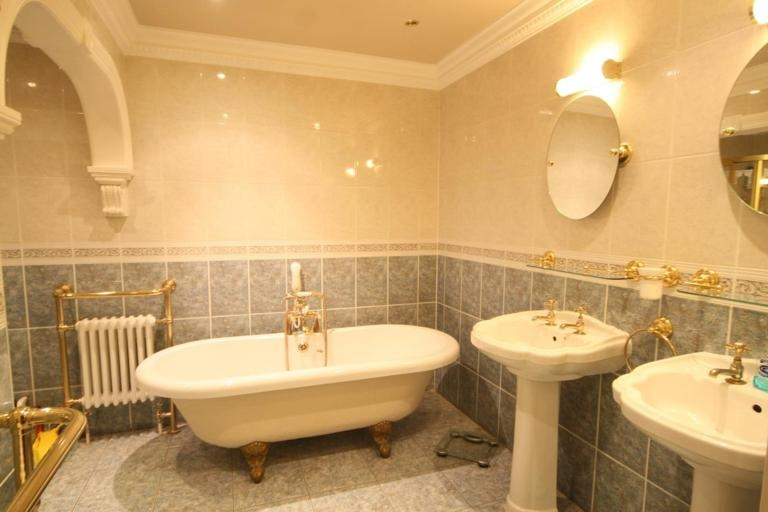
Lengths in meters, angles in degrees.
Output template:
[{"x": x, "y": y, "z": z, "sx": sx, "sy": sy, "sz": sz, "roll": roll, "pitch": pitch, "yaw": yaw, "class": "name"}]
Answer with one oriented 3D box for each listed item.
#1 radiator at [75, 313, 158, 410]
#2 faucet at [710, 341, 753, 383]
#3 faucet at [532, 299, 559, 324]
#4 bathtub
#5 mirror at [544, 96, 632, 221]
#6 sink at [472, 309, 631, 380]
[{"x": -1.979, "y": 0.756, "z": 4.083, "sx": 0.750, "sy": 0.842, "sz": 0.175, "roll": -1, "pitch": 0, "yaw": -28, "class": "radiator"}, {"x": 1.741, "y": 0.552, "z": 2.838, "sx": 0.239, "sy": 0.214, "sz": 0.117, "roll": -6, "pitch": 11, "yaw": -19, "class": "faucet"}, {"x": 1.054, "y": 0.358, "z": 3.646, "sx": 0.221, "sy": 0.182, "sz": 0.105, "roll": -3, "pitch": 5, "yaw": -27, "class": "faucet"}, {"x": -0.611, "y": 0.936, "z": 4.034, "sx": 2.130, "sy": 0.670, "sz": 0.762, "roll": -2, "pitch": 3, "yaw": -15, "class": "bathtub"}, {"x": 1.285, "y": -0.638, "z": 3.543, "sx": 0.087, "sy": 0.764, "sz": 0.553, "roll": -5, "pitch": 4, "yaw": -34, "class": "mirror"}, {"x": 0.995, "y": 0.559, "z": 3.551, "sx": 0.819, "sy": 0.333, "sz": 0.854, "roll": -2, "pitch": 10, "yaw": -14, "class": "sink"}]
